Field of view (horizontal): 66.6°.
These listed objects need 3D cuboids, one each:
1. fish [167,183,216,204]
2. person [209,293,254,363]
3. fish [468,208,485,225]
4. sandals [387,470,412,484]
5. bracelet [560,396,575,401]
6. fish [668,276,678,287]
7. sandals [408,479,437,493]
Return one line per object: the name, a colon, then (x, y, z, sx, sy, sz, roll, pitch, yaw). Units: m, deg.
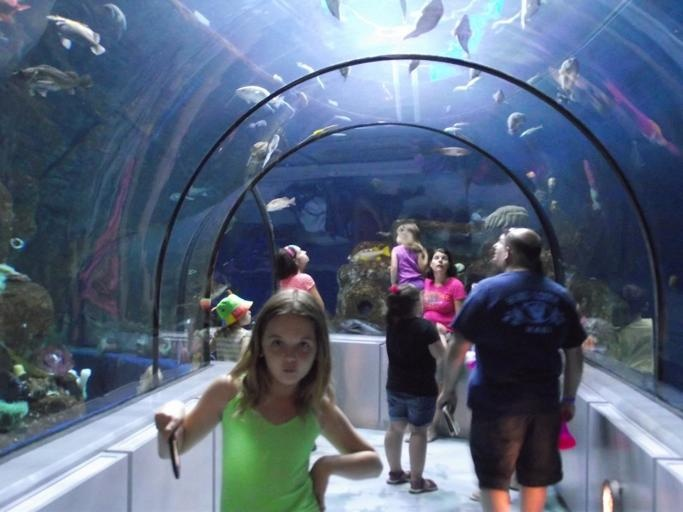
fish: (-1.459, -0.619, 5.152, 0.135, 0.106, 0.353, -22, 8, 20)
person: (-1.219, 0.889, 6.131, 0.517, 0.802, 0.639, 6, -36, -30)
fish: (3.517, -1.002, 13.491, 0.312, 0.349, 0.333, 13, 22, 42)
sandals: (0.620, 2.387, 5.657, 0.252, 0.120, 0.120, -2, -5, -14)
bracelet: (1.810, 1.145, 4.153, 0.080, 0.031, 0.082, -2, -5, 11)
fish: (2.752, 0.214, 4.313, 0.021, 0.070, 0.049, 4, 18, -10)
sandals: (0.849, 2.384, 5.438, 0.286, 0.138, 0.138, -2, -5, -14)
